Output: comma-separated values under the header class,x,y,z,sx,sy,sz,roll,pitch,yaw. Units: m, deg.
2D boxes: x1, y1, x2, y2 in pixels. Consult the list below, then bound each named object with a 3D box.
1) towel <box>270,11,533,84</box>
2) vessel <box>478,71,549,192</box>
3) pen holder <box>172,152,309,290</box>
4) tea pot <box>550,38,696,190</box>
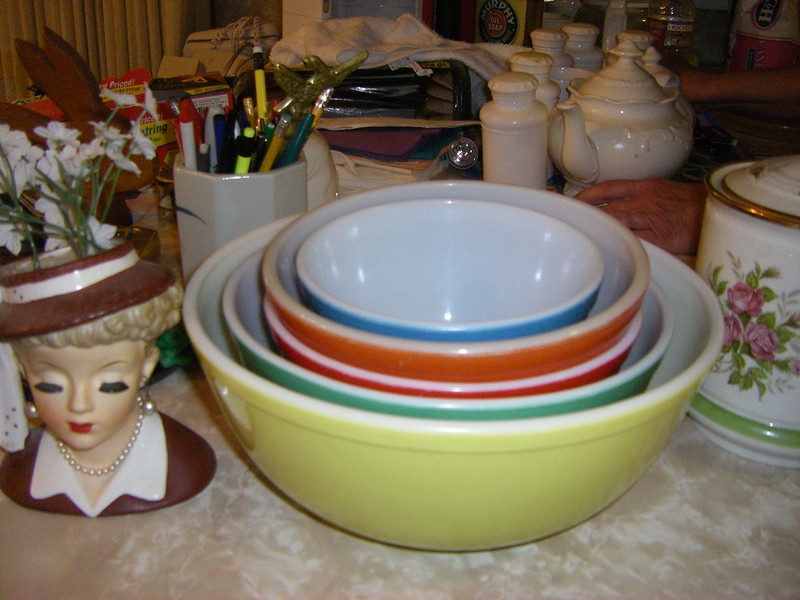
class,x,y,z,sx,sy,sz,roll,pitch,yaw
towel,-0.013,-0.620,1.515,0.609,0.181,0.429,8,26,16
vessel,0.165,-0.229,0.876,0.077,0.153,0.082,-2,21,16
pen holder,-0.192,-0.090,0.789,0.151,0.167,0.138,27,38,31
tea pot,0.342,-0.281,0.987,0.230,0.238,0.222,1,27,-1
